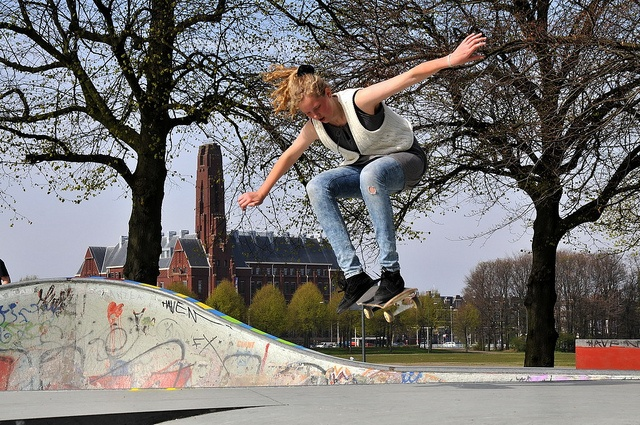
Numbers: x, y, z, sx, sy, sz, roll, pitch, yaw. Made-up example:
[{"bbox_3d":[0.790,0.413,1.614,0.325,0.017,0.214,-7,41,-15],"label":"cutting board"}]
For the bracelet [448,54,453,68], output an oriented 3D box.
[{"bbox_3d":[2.358,-2.745,17.610,0.093,0.204,0.086,1,-2,6],"label":"bracelet"}]
